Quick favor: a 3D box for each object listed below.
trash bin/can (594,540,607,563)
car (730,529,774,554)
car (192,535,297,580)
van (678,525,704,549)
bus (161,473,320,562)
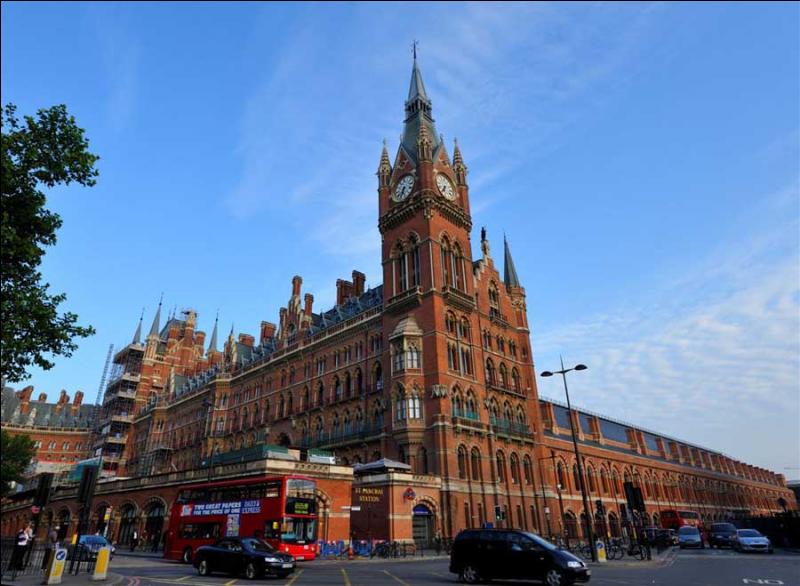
[{"bbox_3d":[12.346,15.897,29.227,0.542,0.996,1.246,-7,-28,12],"label":"trash bin/can"},{"bbox_3d":[27.173,19.112,36.564,1.969,1.519,2.529,-11,-29,19],"label":"car"},{"bbox_3d":[-7.747,13.174,23.669,5.341,1.781,1.572,-18,-32,31],"label":"car"},{"bbox_3d":[27.815,23.557,45.561,1.709,1.401,2.945,-8,-42,17],"label":"van"},{"bbox_3d":[-11.049,15.436,32.334,11.584,4.836,4.251,-16,-29,27],"label":"bus"}]
